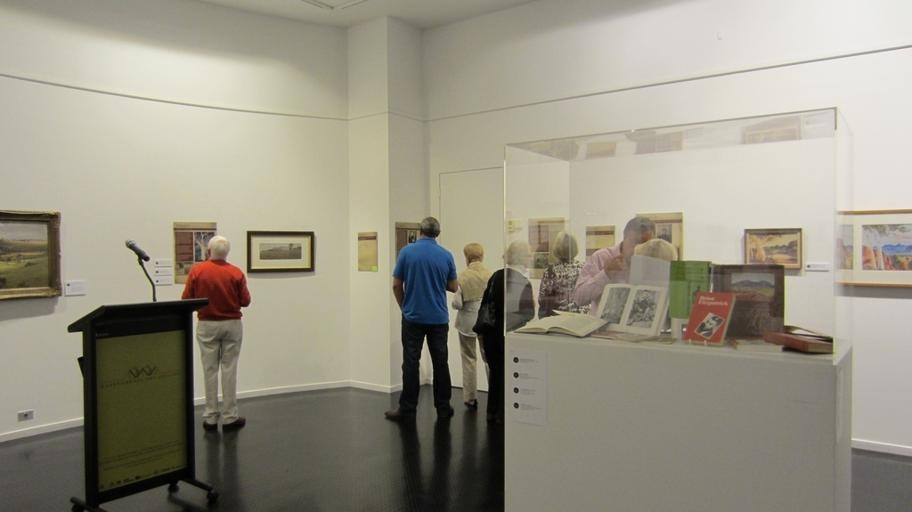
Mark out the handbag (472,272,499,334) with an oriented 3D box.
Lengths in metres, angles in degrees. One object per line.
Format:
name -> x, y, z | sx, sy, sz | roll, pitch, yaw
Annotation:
handbag -> 0.461, 0.675, 8.339 | 0.226, 0.722, 0.525 | 10, -1, 19

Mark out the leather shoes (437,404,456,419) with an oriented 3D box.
leather shoes -> -0.152, 2.205, 8.639 | 0.106, 0.225, 0.327 | 0, 6, 24

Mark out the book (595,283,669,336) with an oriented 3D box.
book -> 1.709, 0.516, 5.858 | 0.710, 0.483, 0.170 | 10, 1, 17

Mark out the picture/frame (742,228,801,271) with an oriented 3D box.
picture/frame -> 2.843, -0.060, 5.491 | 0.399, 0.333, 0.043 | 1, -1, 31

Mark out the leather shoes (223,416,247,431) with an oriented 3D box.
leather shoes -> -3.040, 2.297, 8.410 | 0.323, 0.135, 0.118 | -8, 11, -43

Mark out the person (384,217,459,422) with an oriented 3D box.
person -> -0.483, 0.894, 8.666 | 1.018, 2.748, 1.023 | 0, 14, 0
